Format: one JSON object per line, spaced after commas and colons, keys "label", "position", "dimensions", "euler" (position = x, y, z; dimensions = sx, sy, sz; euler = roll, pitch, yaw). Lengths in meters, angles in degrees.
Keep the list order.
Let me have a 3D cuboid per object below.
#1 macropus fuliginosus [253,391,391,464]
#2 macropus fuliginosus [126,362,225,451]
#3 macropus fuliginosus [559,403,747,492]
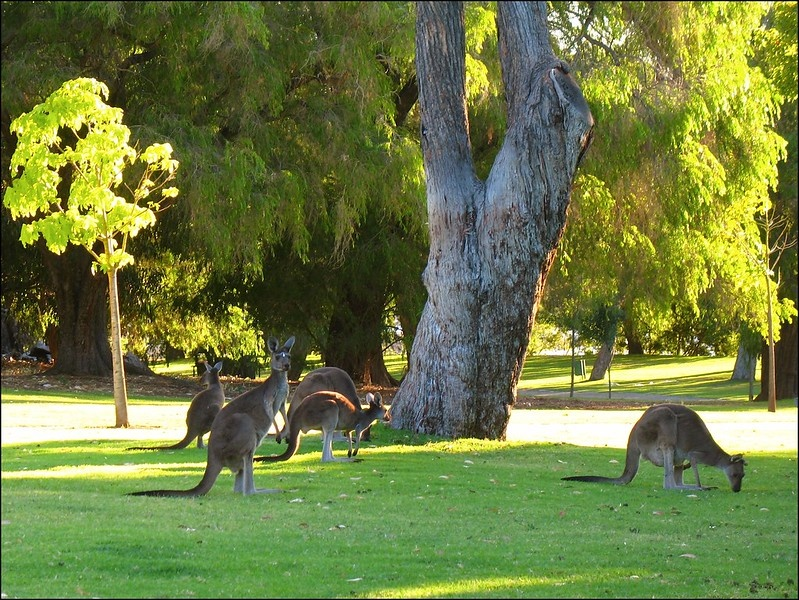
{"label": "macropus fuliginosus", "position": [-1.270, 2.078, 20.271], "dimensions": [2.150, 1.498, 0.763], "euler": [3, 7, -6]}
{"label": "macropus fuliginosus", "position": [-3.765, 2.010, 20.938], "dimensions": [0.528, 1.646, 2.074], "euler": [-2, 7, 31]}
{"label": "macropus fuliginosus", "position": [4.290, 2.349, 19.706], "dimensions": [2.726, 1.795, 0.910], "euler": [2, 4, 23]}
